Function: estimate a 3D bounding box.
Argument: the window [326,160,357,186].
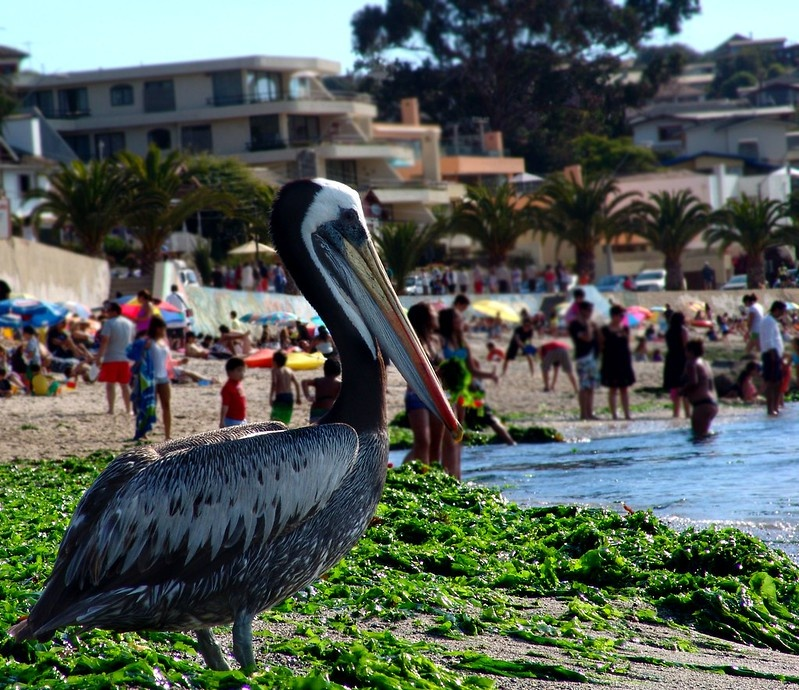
[{"bbox_3d":[-0.651,-2.023,21.031,0.269,0.390,0.383,4,6,33],"label":"window"}]

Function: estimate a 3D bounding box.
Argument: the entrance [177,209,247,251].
[{"bbox_3d":[-5.036,-3.097,48.351,1.375,0.862,1.450,0,2,-1],"label":"entrance"}]
